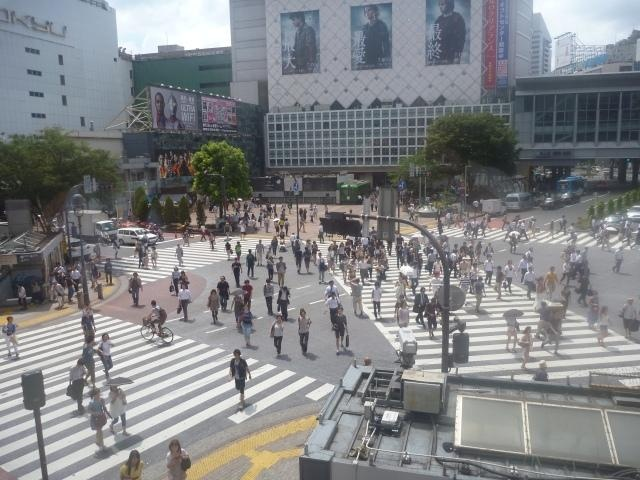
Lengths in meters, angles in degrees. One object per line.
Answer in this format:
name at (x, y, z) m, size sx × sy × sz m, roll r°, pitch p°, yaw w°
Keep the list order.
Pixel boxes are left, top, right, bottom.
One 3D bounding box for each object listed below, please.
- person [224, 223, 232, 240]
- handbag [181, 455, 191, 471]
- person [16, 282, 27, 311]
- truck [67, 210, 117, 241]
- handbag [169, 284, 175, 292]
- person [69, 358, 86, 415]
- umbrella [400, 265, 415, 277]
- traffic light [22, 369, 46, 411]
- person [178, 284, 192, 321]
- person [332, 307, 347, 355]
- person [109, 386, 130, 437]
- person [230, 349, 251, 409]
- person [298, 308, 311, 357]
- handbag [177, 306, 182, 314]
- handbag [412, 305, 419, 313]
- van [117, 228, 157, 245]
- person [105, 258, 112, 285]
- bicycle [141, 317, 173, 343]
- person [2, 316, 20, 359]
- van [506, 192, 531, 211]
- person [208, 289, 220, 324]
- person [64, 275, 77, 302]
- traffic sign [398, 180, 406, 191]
person at (-8.551, -0.729, 57.742) m, size 0.425 × 1.868 × 0.972 m, roll 3°, pitch -31°, yaw -9°
handbag at (-4.080, 6.820, 18.926) m, size 0.253 × 0.522 × 0.330 m, roll -3°, pitch 6°, yaw -3°
person at (-17.295, 3.295, 36.015) m, size 0.639 × 2.042 × 0.820 m, roll 5°, pitch 18°, yaw -13°
truck at (-19.614, -1.107, 53.227) m, size 5.897 × 3.243 × 2.037 m, roll 5°, pitch 11°, yaw 32°
handbag at (-8.966, 2.974, 37.553) m, size 0.250 × 0.414 × 0.139 m, roll 1°, pitch 0°, yaw -8°
person at (-9.374, 5.638, 24.061) m, size 0.701 × 2.170 × 0.940 m, roll -4°, pitch 6°, yaw -20°
umbrella at (5.088, 1.795, 36.158) m, size 0.588 × 0.337 × 0.788 m, roll 0°, pitch 3°, yaw -5°
traffic light at (-8.922, 4.733, 19.348) m, size 0.569 × 1.308 × 0.500 m, roll -7°, pitch 8°, yaw -38°
person at (-7.270, 3.349, 33.380) m, size 0.586 × 1.687 × 2.465 m, roll -4°, pitch 6°, yaw -14°
person at (0.929, 4.035, 28.317) m, size 0.616 × 2.021 × 1.273 m, roll -2°, pitch 6°, yaw 1°
person at (-7.327, 6.084, 22.479) m, size 0.775 × 2.029 × 0.814 m, roll 1°, pitch 17°, yaw 2°
person at (-3.098, 5.326, 24.095) m, size 0.687 × 2.298 × 0.765 m, roll -3°, pitch 6°, yaw -8°
person at (-0.675, 4.086, 27.832) m, size 0.464 × 2.173 × 1.041 m, roll -3°, pitch 6°, yaw -5°
handbag at (-7.513, 3.736, 33.239) m, size 0.202 × 0.643 × 0.238 m, roll 9°, pitch 9°, yaw -8°
handbag at (4.722, 3.410, 30.377) m, size 0.076 × 0.326 × 0.320 m, roll 3°, pitch -4°, yaw -26°
van at (-16.219, 0.171, 54.587) m, size 3.041 × 1.723 × 1.995 m, roll 1°, pitch 9°, yaw 14°
person at (-13.985, 2.079, 41.150) m, size 0.391 × 1.688 × 1.687 m, roll -4°, pitch 6°, yaw -16°
bicycle at (-7.931, 4.347, 30.337) m, size 1.707 × 1.162 × 0.917 m, roll 3°, pitch 17°, yaw 16°
person at (-14.431, 4.480, 28.963) m, size 0.587 × 1.970 × 1.345 m, roll -5°, pitch 7°, yaw -26°
van at (23.490, -4.537, 73.440) m, size 3.298 × 1.796 × 1.760 m, roll -21°, pitch 27°, yaw -34°
person at (-5.481, 3.429, 31.978) m, size 0.519 × 1.812 × 0.893 m, roll -4°, pitch 6°, yaw -12°
person at (-14.946, 2.913, 37.345) m, size 0.621 × 1.668 × 1.099 m, roll -5°, pitch 6°, yaw -23°
traffic sign at (10.273, -6.722, 77.230) m, size 1.065 × 1.355 × 1.108 m, roll -2°, pitch 5°, yaw -28°
